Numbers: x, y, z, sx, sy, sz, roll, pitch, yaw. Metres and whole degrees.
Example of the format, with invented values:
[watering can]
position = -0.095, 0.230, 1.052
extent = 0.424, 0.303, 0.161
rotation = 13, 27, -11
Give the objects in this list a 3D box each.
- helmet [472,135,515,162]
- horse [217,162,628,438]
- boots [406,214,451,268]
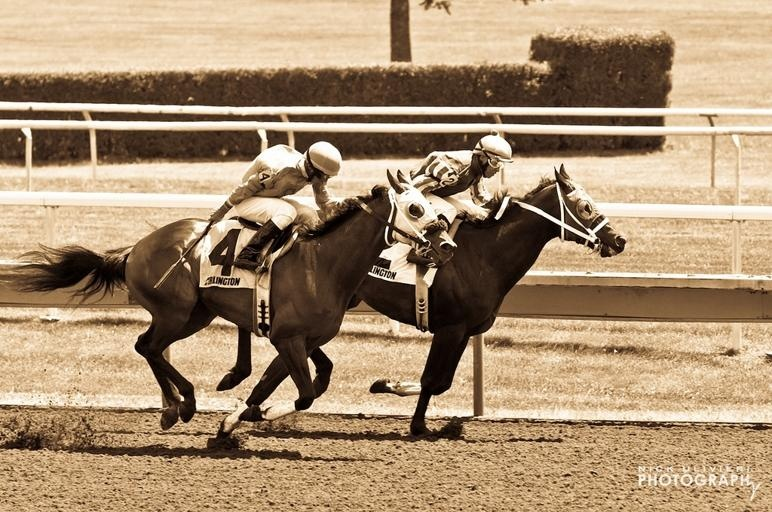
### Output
[helmet]
position = 1.181, -1.181, 19.980
extent = 0.384, 0.163, 0.273
rotation = 18, 16, 14
[horse]
position = 0.512, 0.571, 20.536
extent = 4.976, 2.875, 1.254
rotation = 1, -2, 42
[boots]
position = 0.521, -0.129, 19.202
extent = 0.556, 0.237, 0.401
rotation = -37, 3, 5
